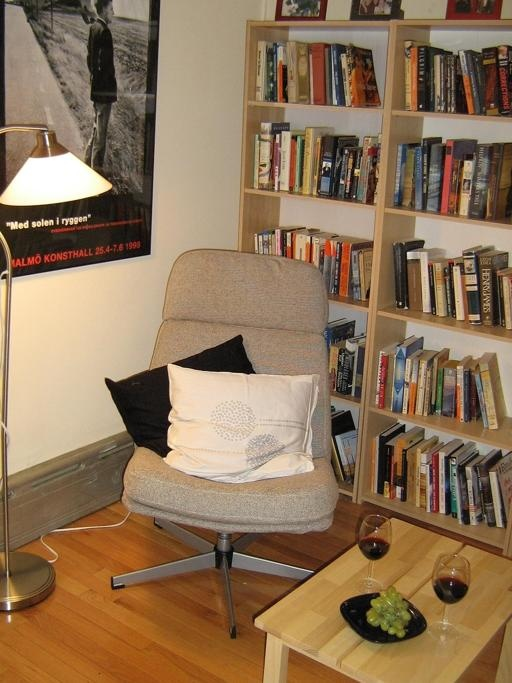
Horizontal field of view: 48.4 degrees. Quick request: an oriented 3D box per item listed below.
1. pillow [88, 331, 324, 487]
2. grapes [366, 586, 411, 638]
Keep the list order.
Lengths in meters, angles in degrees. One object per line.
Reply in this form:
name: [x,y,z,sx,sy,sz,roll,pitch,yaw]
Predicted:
pillow: [-0.130,0.197,1.724,0.452,0.131,0.435,11,51,4]
grapes: [0.261,0.537,1.128,0.080,0.070,0.084,7,12,19]
